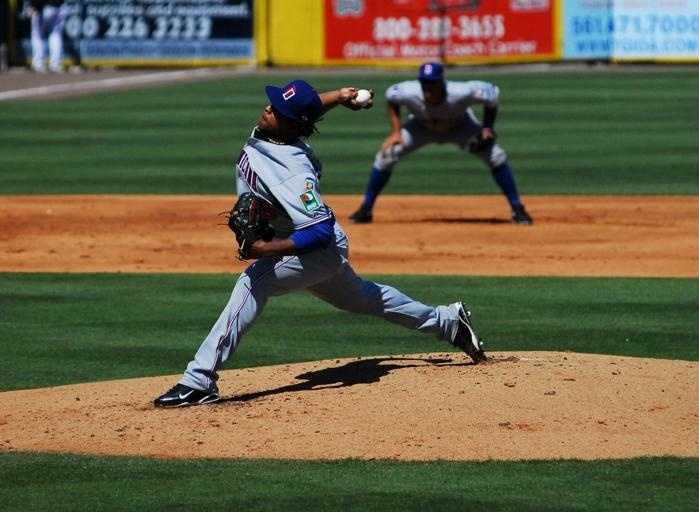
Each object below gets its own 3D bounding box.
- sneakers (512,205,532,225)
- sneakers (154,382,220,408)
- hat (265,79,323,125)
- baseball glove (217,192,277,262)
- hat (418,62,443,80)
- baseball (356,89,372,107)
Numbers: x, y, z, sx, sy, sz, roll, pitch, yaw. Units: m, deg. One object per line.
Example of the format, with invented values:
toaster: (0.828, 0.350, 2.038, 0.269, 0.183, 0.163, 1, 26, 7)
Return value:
sneakers: (1.842, -0.449, 15.443, 0.146, 0.153, 0.291, -5, 8, -25)
sneakers: (-1.307, 1.118, 11.425, 0.526, 0.190, 0.189, 1, 1, -4)
hat: (-0.457, -1.203, 11.297, 0.448, 0.291, 0.217, 17, -46, -19)
baseball glove: (-0.756, -0.256, 11.345, 0.430, 0.491, 0.272, -23, -23, 18)
hat: (0.832, -1.868, 14.289, 0.205, 0.119, 0.258, 2, 6, 15)
baseball: (0.110, -1.294, 11.590, 0.091, 0.087, 0.099, -33, -23, -22)
